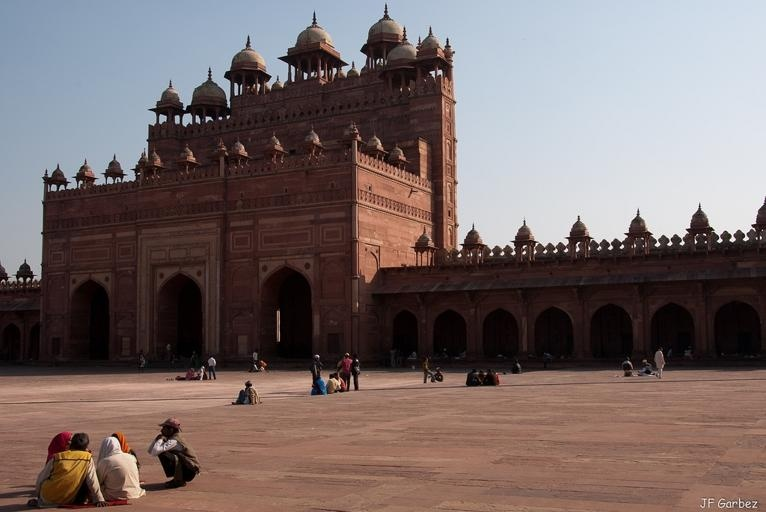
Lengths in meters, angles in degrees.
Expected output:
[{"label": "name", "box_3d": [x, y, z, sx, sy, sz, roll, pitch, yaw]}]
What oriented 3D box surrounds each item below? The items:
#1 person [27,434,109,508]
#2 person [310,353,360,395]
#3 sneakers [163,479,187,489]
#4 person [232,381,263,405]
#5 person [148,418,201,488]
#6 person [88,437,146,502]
[{"label": "person", "box_3d": [-5.137, 3.603, 17.195, 1.874, 1.354, 1.045, 2, -8, -10]}, {"label": "person", "box_3d": [-1.330, 3.309, 28.607, 1.184, 1.179, 1.286, 0, -17, 6]}, {"label": "sneakers", "box_3d": [-3.450, 3.785, 17.225, 0.360, 0.157, 0.126, -1, -11, -1]}, {"label": "person", "box_3d": [-3.283, 3.434, 25.693, 0.786, 0.715, 0.731, -3, -9, 35]}, {"label": "person", "box_3d": [-3.502, 3.310, 17.433, 0.838, 1.122, 0.361, -2, -11, 1]}, {"label": "person", "box_3d": [-4.383, 3.495, 17.274, 1.137, 0.951, 1.025, -2, 0, 14]}]
